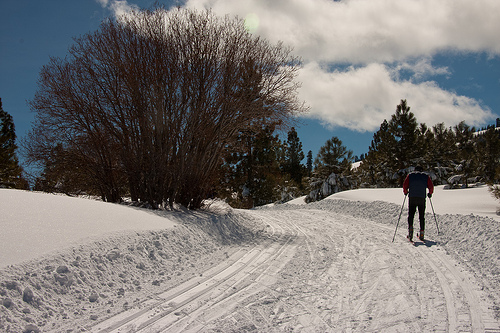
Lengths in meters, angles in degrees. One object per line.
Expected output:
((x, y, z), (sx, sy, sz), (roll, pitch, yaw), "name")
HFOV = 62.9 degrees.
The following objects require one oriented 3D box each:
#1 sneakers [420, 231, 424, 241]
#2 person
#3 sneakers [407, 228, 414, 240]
((6.444, 2.549, 15.390), (0.177, 0.381, 0.217), (2, 4, 25), "sneakers")
((6.449, 1.346, 15.867), (1.043, 2.759, 1.274), (3, 5, 33), "person")
((6.108, 2.531, 15.539), (0.159, 0.538, 0.209), (3, 5, 5), "sneakers")
